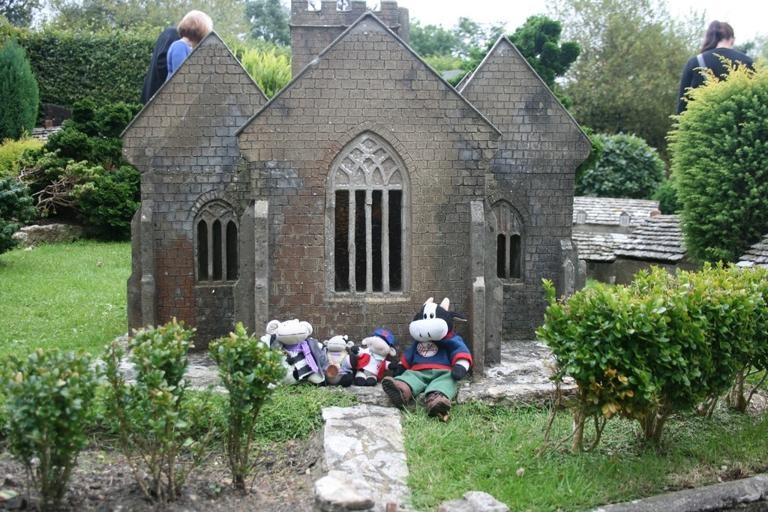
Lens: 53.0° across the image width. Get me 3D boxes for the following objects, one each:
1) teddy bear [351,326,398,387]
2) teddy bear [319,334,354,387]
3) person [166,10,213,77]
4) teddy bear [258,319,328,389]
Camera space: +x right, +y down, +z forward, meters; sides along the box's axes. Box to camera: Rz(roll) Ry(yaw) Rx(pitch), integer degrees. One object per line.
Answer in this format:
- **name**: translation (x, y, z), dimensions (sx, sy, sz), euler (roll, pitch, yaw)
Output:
- **teddy bear**: translation (-0.207, 1.930, 14.466), dimensions (0.681, 0.861, 0.516), euler (16, -25, -1)
- **teddy bear**: translation (-0.894, 1.993, 14.324), dimensions (0.735, 1.029, 0.457), euler (-1, -23, 0)
- **person**: translation (-4.279, -4.834, 17.050), dimensions (0.897, 1.660, 1.508), euler (1, -5, -28)
- **teddy bear**: translation (-1.698, 1.820, 14.417), dimensions (1.299, 1.264, 0.791), euler (-1, -9, -20)
